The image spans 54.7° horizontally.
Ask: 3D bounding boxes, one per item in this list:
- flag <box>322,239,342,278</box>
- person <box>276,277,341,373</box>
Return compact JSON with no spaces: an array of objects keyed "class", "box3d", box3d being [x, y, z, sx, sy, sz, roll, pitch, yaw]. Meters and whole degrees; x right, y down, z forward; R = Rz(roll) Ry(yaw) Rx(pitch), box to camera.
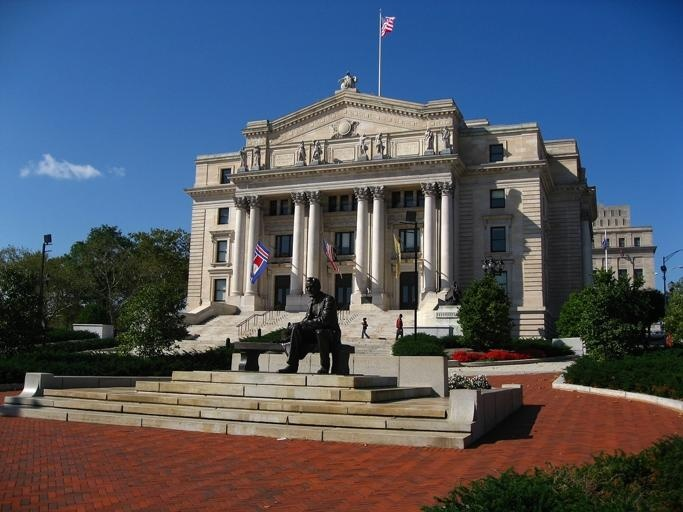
[{"class":"flag","box3d":[-0.796,0.285,54.135,0.272,2.427,2.481,-18,-38,12]},{"class":"person","box3d":[-0.791,1.987,19.273,1.492,2.702,1.088,1,-2,0]}]
